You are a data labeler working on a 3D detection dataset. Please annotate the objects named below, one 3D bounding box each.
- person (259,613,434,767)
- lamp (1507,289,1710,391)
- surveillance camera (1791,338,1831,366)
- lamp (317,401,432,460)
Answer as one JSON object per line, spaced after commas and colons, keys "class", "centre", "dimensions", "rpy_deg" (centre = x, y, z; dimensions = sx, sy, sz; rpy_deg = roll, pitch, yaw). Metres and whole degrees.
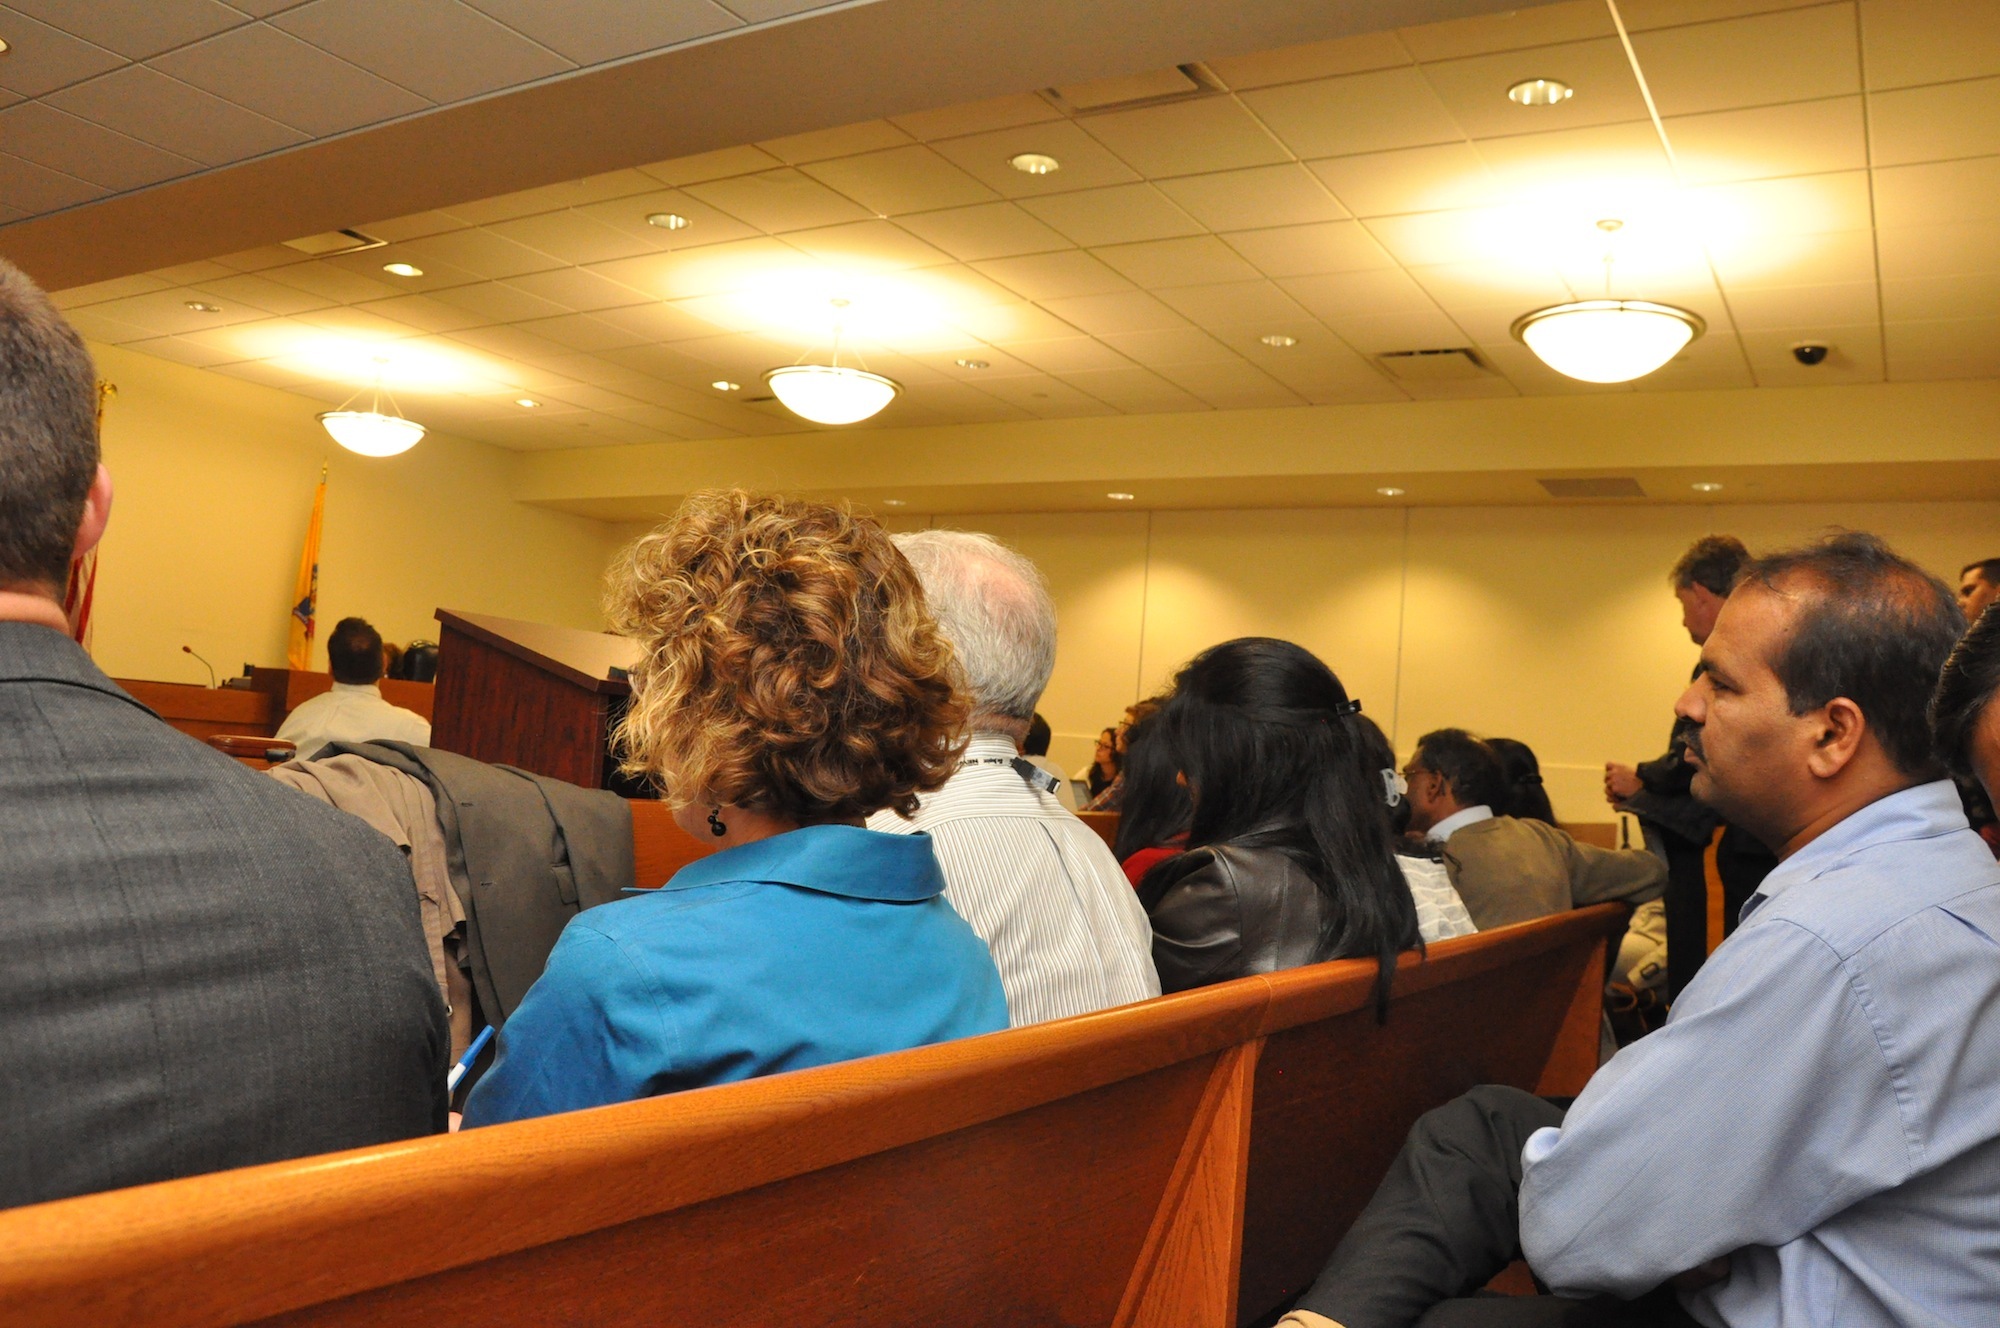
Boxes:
{"class": "person", "centre": [-3.195, 0.166, 6.030], "dimensions": [0.937, 0.762, 0.503], "rpy_deg": [1, 18, -30]}
{"class": "lamp", "centre": [3.110, -1.713, 6.280], "dimensions": [0.868, 0.470, 0.477], "rpy_deg": [2, 0, 18]}
{"class": "surveillance camera", "centre": [4.782, -1.821, 7.202], "dimensions": [0.132, 0.065, 0.134], "rpy_deg": [-2, -22, 36]}
{"class": "lamp", "centre": [-5.460, -2.030, 10.591], "dimensions": [0.669, 0.208, 0.683], "rpy_deg": [-3, -9, 41]}
